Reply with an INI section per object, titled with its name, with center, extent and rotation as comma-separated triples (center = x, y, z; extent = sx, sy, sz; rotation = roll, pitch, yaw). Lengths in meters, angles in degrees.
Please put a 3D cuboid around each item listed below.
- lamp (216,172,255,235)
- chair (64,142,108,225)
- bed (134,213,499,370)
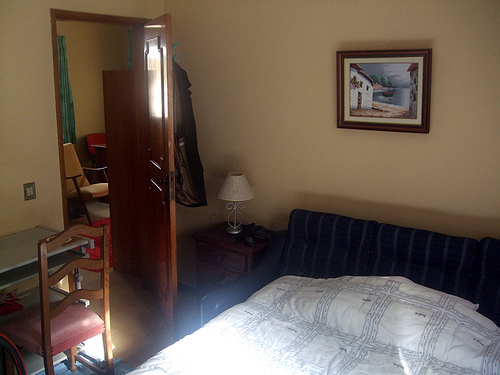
[lamp]
center = -0.137, 0.145, 3.500
extent = 0.445, 0.577, 0.475
rotation = 1, 18, -3
[chair]
center = -2.421, -0.060, 5.658
extent = 0.743, 1.099, 0.791
rotation = -1, 12, 5
[bed]
center = 0.627, 0.719, 2.603
extent = 2.002, 0.741, 1.167
rotation = -1, 15, 1
